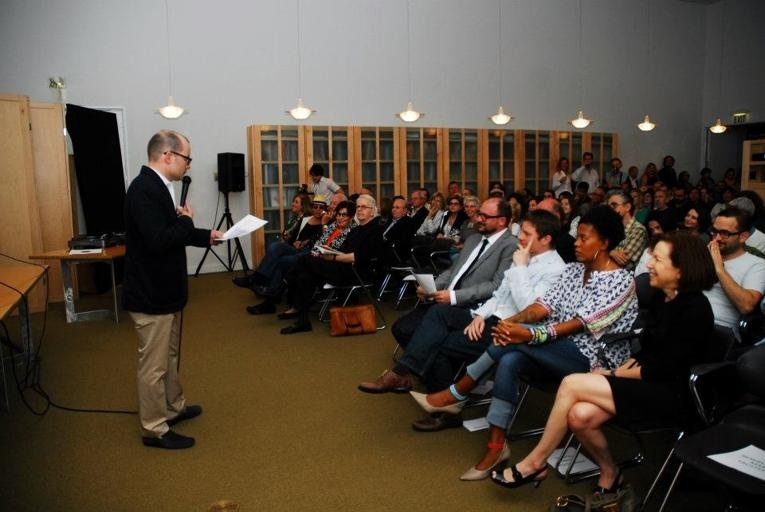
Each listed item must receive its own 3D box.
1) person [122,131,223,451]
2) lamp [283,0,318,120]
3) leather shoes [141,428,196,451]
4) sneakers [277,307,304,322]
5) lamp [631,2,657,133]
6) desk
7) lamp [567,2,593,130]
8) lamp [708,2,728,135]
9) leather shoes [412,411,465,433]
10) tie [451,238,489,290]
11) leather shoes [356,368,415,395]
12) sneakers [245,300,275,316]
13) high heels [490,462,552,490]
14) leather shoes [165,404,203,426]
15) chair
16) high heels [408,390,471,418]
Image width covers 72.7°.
[{"bbox_3d":[-1.669,0.250,4.053,0.639,2.403,0.529,-3,11,-9],"label":"person"},{"bbox_3d":[-1.484,-3.593,9.210,0.483,2.270,1.930,-3,11,-8],"label":"lamp"},{"bbox_3d":[-1.641,1.410,4.111,0.443,0.185,0.155,-1,2,2],"label":"leather shoes"},{"bbox_3d":[-1.156,0.765,6.890,0.432,0.178,0.154,3,-3,-32],"label":"sneakers"},{"bbox_3d":[6.680,-4.890,13.074,0.422,2.952,0.262,-6,11,-25],"label":"lamp"},{"bbox_3d":[-3.865,0.377,7.089,1.262,0.871,1.247,-6,3,-38],"label":"desk"},{"bbox_3d":[4.626,-4.461,12.055,0.367,2.948,0.890,3,11,22],"label":"lamp"},{"bbox_3d":[8.959,-5.020,13.660,0.360,3.065,0.259,6,12,33],"label":"lamp"},{"bbox_3d":[0.459,1.338,4.298,0.428,0.178,0.162,1,1,-11],"label":"leather shoes"},{"bbox_3d":[0.839,0.077,4.862,0.078,0.553,0.141,35,-11,-2],"label":"tie"},{"bbox_3d":[0.040,1.047,4.403,0.510,0.235,0.191,2,-7,-4],"label":"leather shoes"},{"bbox_3d":[-1.656,0.693,7.059,0.355,0.262,0.174,3,-4,-11],"label":"sneakers"},{"bbox_3d":[0.919,1.414,3.484,0.357,0.189,0.195,10,4,1],"label":"high heels"},{"bbox_3d":[-1.663,1.332,4.397,0.095,0.122,0.286,19,30,36],"label":"leather shoes"},{"bbox_3d":[1.448,0.617,4.509,2.951,2.492,1.570,3,-1,1],"label":"chair"},{"bbox_3d":[0.423,1.142,4.123,0.513,0.194,0.179,12,5,-7],"label":"high heels"}]
